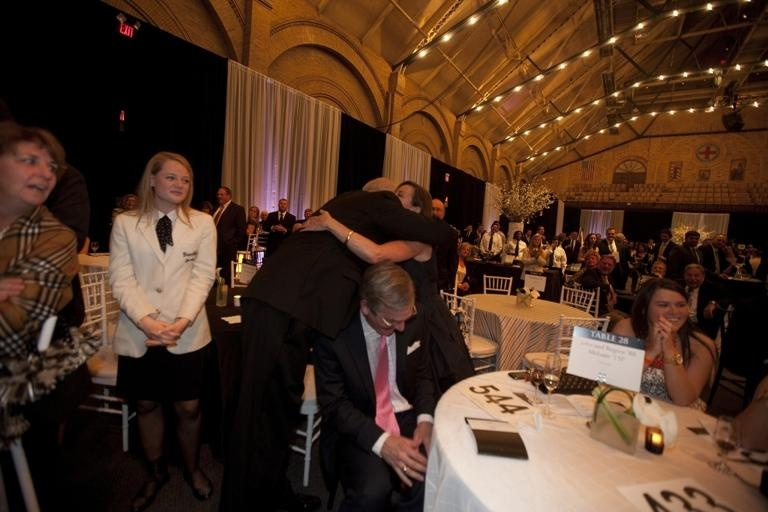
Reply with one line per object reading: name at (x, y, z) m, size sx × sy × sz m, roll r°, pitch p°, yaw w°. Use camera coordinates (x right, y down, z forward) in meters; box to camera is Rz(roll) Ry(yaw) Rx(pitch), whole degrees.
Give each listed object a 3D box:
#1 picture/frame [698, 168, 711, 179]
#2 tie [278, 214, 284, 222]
picture/frame at (13.007, -3.400, 20.129) m, size 0.340 × 0.424 × 0.067 m, roll 13°, pitch 5°, yaw 34°
tie at (-1.920, -0.722, 9.164) m, size 0.099 × 0.149 × 0.034 m, roll 9°, pitch -16°, yaw -13°
